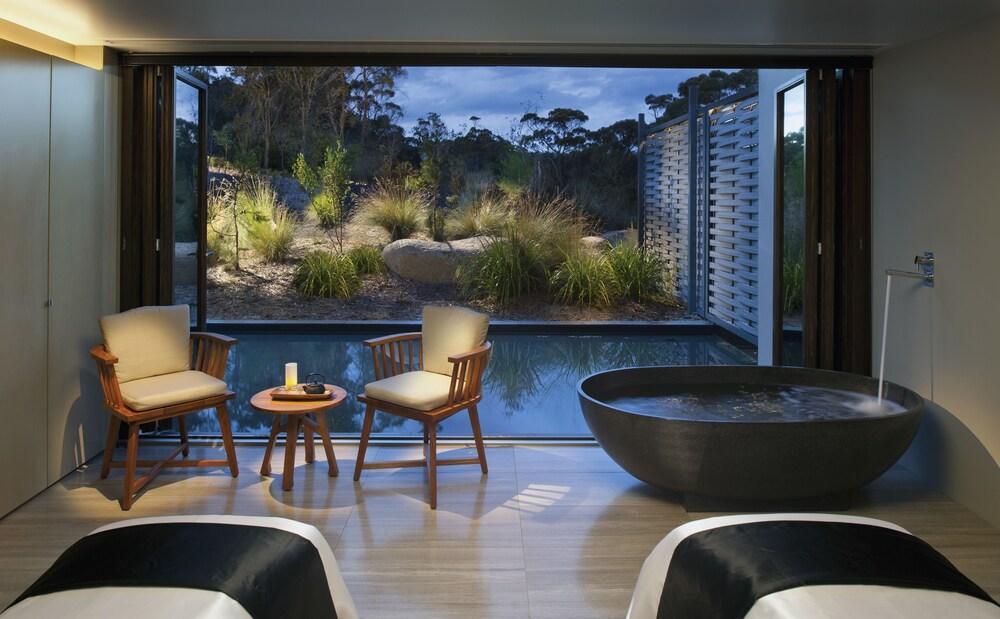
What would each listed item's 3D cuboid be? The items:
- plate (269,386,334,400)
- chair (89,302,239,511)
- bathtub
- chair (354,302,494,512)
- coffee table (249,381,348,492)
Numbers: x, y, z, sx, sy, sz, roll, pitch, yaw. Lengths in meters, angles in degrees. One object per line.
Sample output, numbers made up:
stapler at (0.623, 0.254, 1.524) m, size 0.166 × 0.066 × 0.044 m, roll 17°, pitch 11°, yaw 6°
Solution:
plate at (-1.473, 0.619, 5.137) m, size 0.480 × 0.073 × 0.225 m, roll -1°, pitch 12°, yaw -6°
chair at (-2.518, 0.668, 5.228) m, size 0.925 × 1.285 × 0.848 m, roll -3°, pitch 11°, yaw -42°
bathtub at (1.878, 0.938, 5.116) m, size 2.598 × 0.747 × 1.263 m, roll 1°, pitch 12°, yaw 2°
chair at (-0.580, 0.684, 5.257) m, size 0.921 × 1.333 × 0.987 m, roll 5°, pitch 10°, yaw 18°
coffee table at (-1.543, 0.992, 5.258) m, size 0.566 × 0.540 × 0.608 m, roll -10°, pitch -5°, yaw 33°
